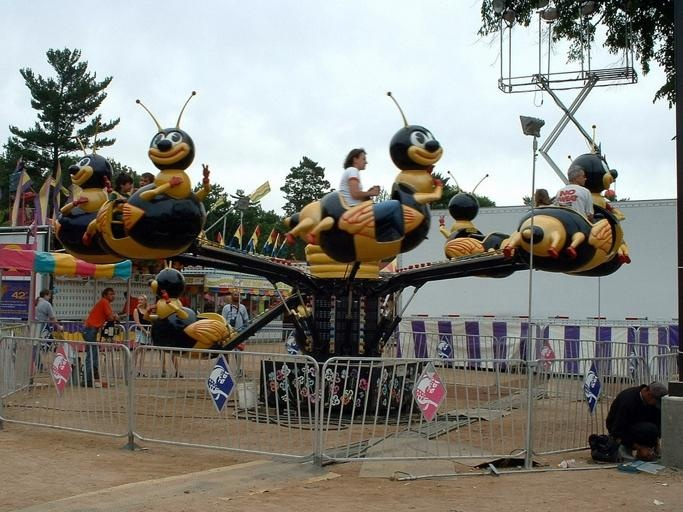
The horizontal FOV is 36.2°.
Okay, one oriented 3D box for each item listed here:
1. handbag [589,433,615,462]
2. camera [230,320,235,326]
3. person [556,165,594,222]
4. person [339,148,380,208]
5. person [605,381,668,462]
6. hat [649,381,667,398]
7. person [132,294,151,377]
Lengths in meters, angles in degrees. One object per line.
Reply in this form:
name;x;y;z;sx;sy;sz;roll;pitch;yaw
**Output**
handbag;4.300;3.137;17.136;0.349;0.446;0.246;4;-30;-9
camera;-2.670;1.628;25.529;0.143;0.195;0.283;3;-8;-9
person;4.476;-1.221;20.033;0.702;1.180;0.907;-1;-8;18
person;0.330;-1.418;18.435;0.633;1.023;1.347;3;-8;-10
person;4.797;2.758;17.532;1.094;1.392;1.260;3;-3;35
hat;5.255;2.192;17.153;0.274;0.254;0.416;4;-8;-14
person;-4.705;1.852;24.826;0.506;1.827;0.489;3;7;20
